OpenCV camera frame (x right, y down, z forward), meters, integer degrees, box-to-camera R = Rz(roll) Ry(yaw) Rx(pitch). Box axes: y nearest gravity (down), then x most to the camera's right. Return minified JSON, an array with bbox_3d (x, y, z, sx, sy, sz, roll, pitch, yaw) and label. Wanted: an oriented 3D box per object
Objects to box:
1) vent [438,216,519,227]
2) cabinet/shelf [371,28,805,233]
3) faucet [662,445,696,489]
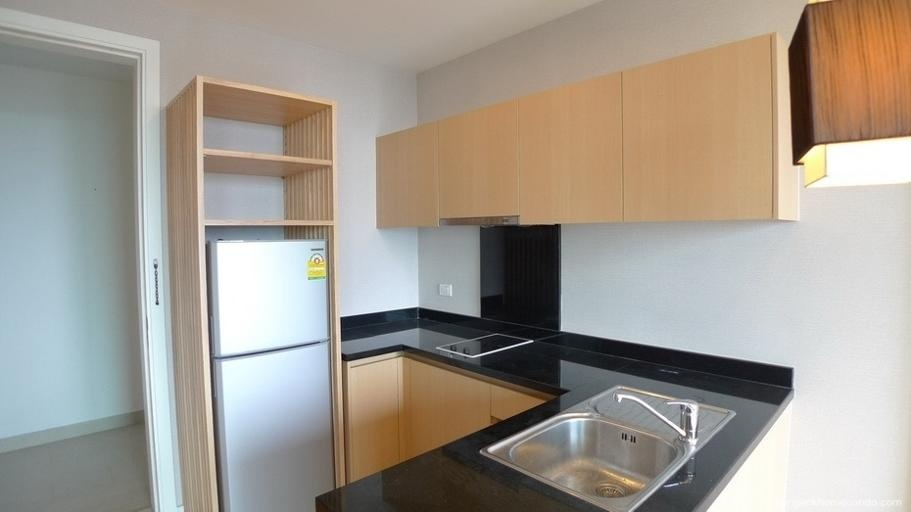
[{"bbox_3d":[0.185,-0.271,4.567,0.534,0.071,0.039,0,-8,34],"label":"vent"},{"bbox_3d":[0.807,-0.770,4.225,2.798,1.085,0.413,-1,-15,30],"label":"cabinet/shelf"},{"bbox_3d":[1.258,1.202,3.221,0.294,0.097,0.084,5,-6,-43],"label":"faucet"}]
